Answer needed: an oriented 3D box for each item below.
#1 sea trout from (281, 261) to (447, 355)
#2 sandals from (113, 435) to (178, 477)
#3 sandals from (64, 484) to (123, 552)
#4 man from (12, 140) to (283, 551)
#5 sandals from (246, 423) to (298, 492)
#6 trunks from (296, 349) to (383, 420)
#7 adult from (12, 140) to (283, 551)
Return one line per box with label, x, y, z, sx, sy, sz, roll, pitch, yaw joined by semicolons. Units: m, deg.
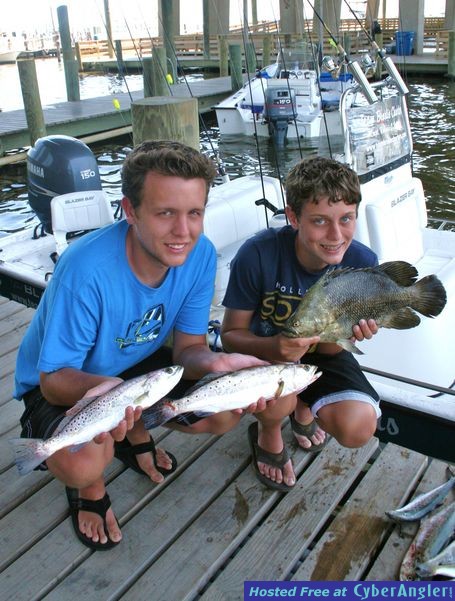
sea trout;0.535;0.029;1.928;0.719;0.307;0.130;-10;13;-15
sandals;-0.391;0.690;2.266;0.345;0.076;0.128;23;39;25
sandals;-0.538;0.831;2.032;0.173;0.104;0.450;-2;8;-25
man;-0.355;0.211;1.967;1.013;1.404;0.965;22;26;32
sandals;0.186;0.672;2.269;0.185;0.100;0.392;-10;40;-12
trunks;0.481;0.357;2.202;0.252;0.149;0.401;-16;14;-3
adult;-0.354;0.183;2.022;1.017;1.441;0.961;-10;28;-37
